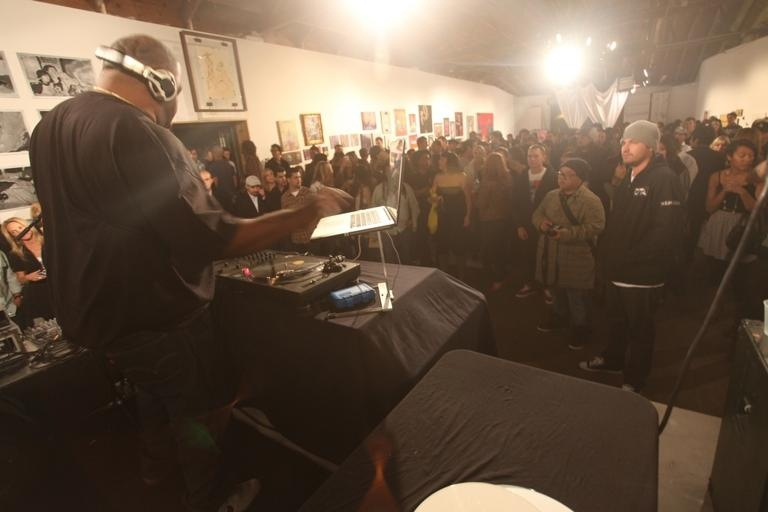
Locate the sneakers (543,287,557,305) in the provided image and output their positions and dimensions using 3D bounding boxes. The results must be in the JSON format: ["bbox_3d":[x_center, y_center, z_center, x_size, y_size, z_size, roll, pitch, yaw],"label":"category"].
[{"bbox_3d":[1.841,0.455,5.517,0.124,0.041,0.178,-15,41,31],"label":"sneakers"}]

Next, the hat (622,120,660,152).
[{"bbox_3d":[2.037,-0.948,3.967,0.253,0.211,0.265,-32,20,-24],"label":"hat"}]

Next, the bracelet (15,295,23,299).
[{"bbox_3d":[-3.149,0.353,4.297,0.031,0.023,0.032,-1,2,-4],"label":"bracelet"}]

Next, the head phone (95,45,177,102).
[{"bbox_3d":[-1.338,-0.986,2.690,0.395,0.163,0.443,27,-9,-30],"label":"head phone"}]

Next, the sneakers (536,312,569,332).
[{"bbox_3d":[1.713,0.662,4.939,0.362,0.140,0.123,-5,40,22],"label":"sneakers"}]

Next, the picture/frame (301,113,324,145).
[{"bbox_3d":[-1.190,-2.194,8.564,0.071,0.536,0.623,-13,17,-34],"label":"picture/frame"}]
